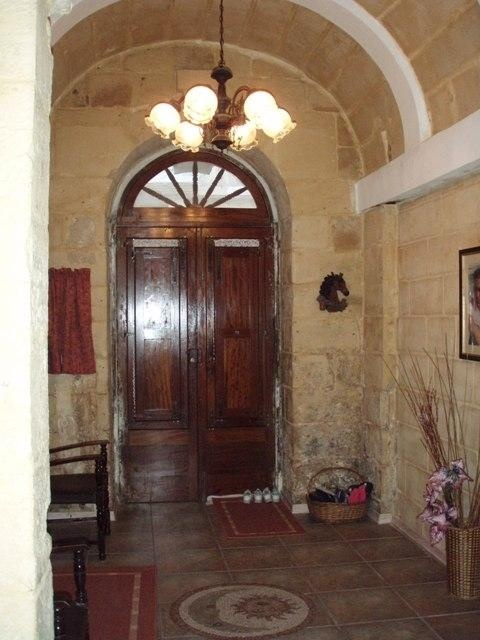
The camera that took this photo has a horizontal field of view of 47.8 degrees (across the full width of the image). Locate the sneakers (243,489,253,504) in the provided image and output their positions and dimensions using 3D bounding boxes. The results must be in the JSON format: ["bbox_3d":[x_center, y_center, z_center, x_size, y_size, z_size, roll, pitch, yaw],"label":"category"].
[{"bbox_3d":[0.053,1.529,4.678,0.091,0.128,0.087,0,0,-6],"label":"sneakers"}]

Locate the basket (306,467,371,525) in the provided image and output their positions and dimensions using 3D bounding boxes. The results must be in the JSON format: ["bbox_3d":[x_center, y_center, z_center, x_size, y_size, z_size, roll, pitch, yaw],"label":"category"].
[{"bbox_3d":[0.724,1.344,4.201,0.444,0.358,0.319,-5,5,13],"label":"basket"}]

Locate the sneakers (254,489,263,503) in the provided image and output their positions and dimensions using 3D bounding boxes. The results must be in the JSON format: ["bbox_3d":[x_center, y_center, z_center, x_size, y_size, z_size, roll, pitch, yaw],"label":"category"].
[{"bbox_3d":[0.155,1.514,4.661,0.096,0.135,0.091,0,-4,-2],"label":"sneakers"}]

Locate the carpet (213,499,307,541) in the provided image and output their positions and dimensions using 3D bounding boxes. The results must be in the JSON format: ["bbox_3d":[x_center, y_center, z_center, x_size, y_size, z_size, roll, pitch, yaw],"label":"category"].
[{"bbox_3d":[0.113,1.561,4.317,0.610,0.022,0.930,0,-2,-8],"label":"carpet"}]

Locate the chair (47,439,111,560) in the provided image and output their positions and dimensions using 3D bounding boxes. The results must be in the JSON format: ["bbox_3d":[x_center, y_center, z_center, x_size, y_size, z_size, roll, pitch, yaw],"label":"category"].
[{"bbox_3d":[-1.089,1.200,3.779,0.436,0.706,0.920,0,-3,-19],"label":"chair"}]

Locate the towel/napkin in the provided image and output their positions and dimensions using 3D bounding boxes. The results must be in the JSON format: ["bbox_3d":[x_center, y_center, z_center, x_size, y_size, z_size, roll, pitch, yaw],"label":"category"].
[{"bbox_3d":[-1.278,0.004,4.141,0.335,0.816,0.100,0,-3,-12],"label":"towel/napkin"}]
